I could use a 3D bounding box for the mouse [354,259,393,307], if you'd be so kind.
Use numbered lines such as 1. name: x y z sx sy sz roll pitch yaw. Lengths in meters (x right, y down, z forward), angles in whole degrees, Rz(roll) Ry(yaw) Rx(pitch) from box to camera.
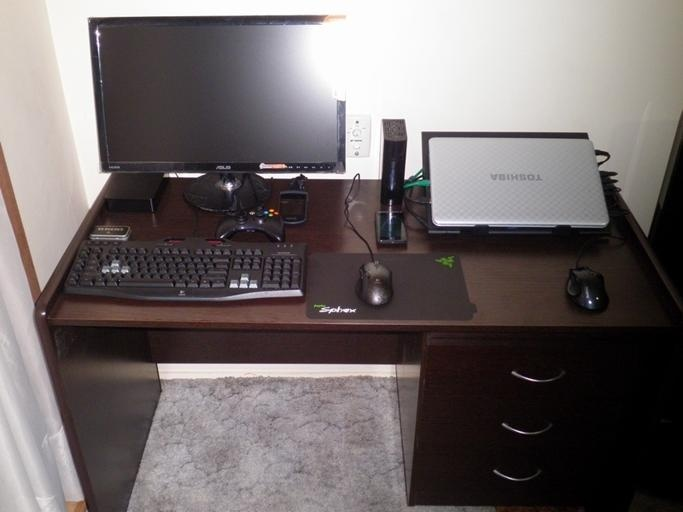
1. mouse: 0.093 0.067 1.490 0.092 0.046 0.149 11 44 0

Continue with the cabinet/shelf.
1. cabinet/shelf: 0.547 0.393 1.809 0.656 0.657 0.566 2 43 4

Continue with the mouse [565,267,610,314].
1. mouse: 0.664 0.081 1.489 0.101 0.041 0.156 -1 46 4

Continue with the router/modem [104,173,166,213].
1. router/modem: -0.671 -0.206 1.773 0.125 0.041 0.181 2 38 -4

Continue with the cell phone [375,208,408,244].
1. cell phone: 0.152 -0.086 1.711 0.088 0.013 0.130 0 51 1

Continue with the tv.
1. tv: -0.358 -0.427 1.698 0.719 0.536 0.255 -1 30 -8
